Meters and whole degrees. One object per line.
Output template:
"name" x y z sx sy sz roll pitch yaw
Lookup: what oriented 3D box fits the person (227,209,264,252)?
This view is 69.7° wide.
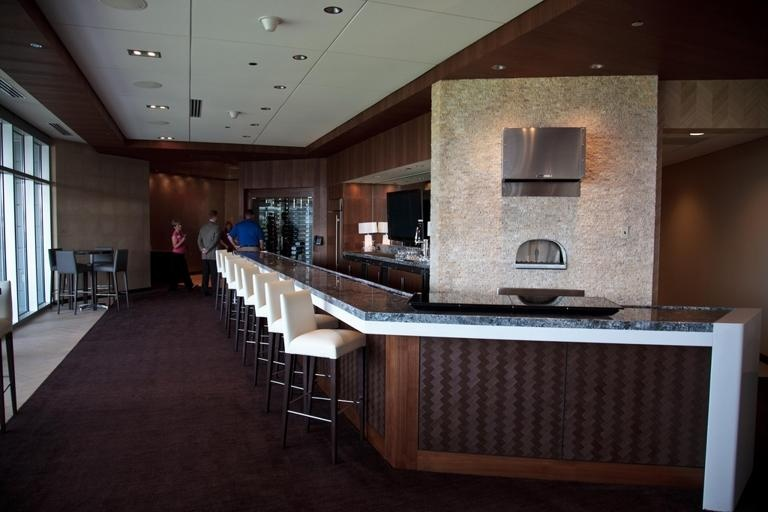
"person" -2.801 -0.271 11.191 0.707 1.644 0.415 1 46 -14

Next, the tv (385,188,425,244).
"tv" 0.362 -0.649 8.992 0.106 0.674 0.980 -4 9 -20

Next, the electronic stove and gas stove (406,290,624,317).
"electronic stove and gas stove" 1.108 0.401 4.747 1.752 0.093 0.545 2 11 7

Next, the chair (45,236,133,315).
"chair" -5.442 0.334 10.142 1.325 0.982 1.310 3 7 14

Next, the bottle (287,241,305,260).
"bottle" -1.841 -0.098 12.067 0.483 0.436 0.345 2 0 4

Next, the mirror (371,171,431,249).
"mirror" 0.309 -0.774 9.281 0.142 0.908 1.311 0 3 -22
